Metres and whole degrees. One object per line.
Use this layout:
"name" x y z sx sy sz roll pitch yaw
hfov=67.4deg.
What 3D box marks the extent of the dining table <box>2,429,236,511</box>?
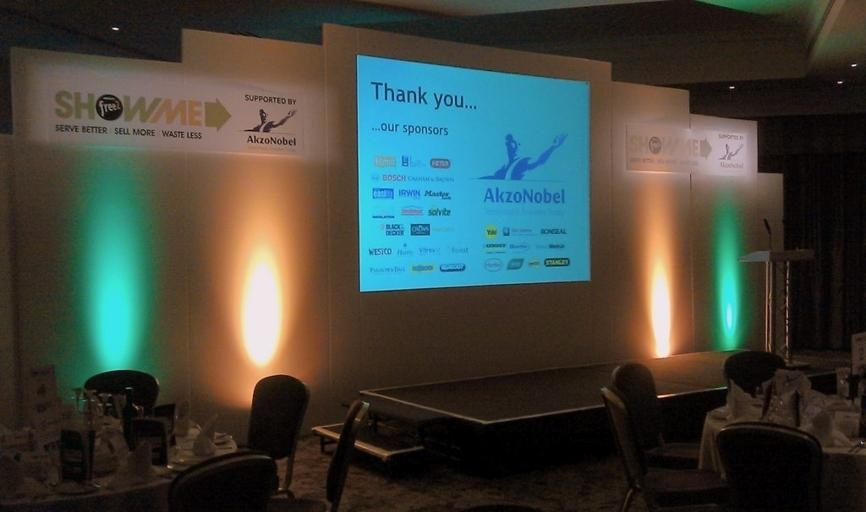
"dining table" -2.328 1.576 4.861 1.543 0.319 0.720 -4 3 -29
